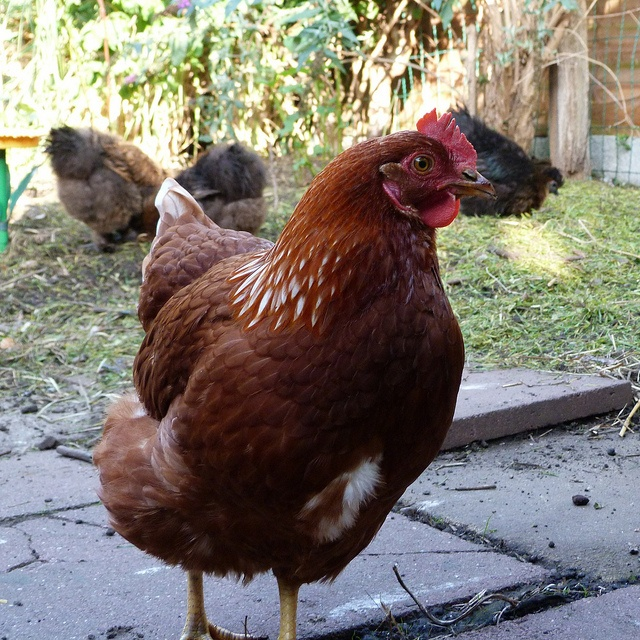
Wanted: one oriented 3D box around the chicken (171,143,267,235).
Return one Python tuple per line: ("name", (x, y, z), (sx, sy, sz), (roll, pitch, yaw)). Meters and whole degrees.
("chicken", (-0.751, -0.995, 5.839), (0.618, 0.568, 0.825), (0, 11, -19))
